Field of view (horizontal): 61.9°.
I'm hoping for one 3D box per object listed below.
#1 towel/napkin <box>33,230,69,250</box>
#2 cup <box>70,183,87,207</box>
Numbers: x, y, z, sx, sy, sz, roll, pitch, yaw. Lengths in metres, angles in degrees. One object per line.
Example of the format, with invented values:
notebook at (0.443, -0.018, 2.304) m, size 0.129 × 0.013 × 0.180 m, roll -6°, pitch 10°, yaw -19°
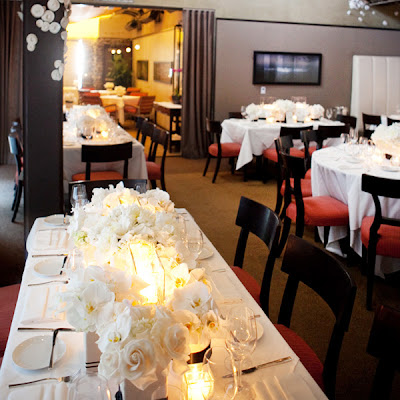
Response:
towel/napkin at (-0.778, 0.210, 1.742) m, size 0.110 × 0.032 × 0.120 m, roll -2°, pitch 27°, yaw -9°
cup at (-0.581, -0.021, 1.594) m, size 0.087 × 0.154 × 0.096 m, roll 3°, pitch 2°, yaw -24°
